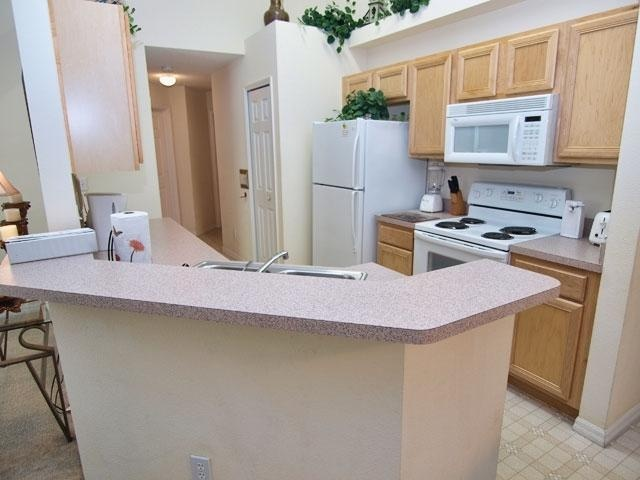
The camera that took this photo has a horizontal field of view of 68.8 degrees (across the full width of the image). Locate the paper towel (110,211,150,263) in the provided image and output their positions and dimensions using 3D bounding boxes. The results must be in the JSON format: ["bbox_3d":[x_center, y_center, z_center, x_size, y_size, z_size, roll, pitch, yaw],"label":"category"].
[{"bbox_3d":[-0.964,0.047,2.415,0.185,0.291,0.189,5,-35,-34],"label":"paper towel"}]

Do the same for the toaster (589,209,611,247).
[{"bbox_3d":[1.698,-0.088,2.918,0.130,0.220,0.146,21,12,42],"label":"toaster"}]

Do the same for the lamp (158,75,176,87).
[{"bbox_3d":[-1.921,-2.002,5.844,0.221,0.053,0.219,16,37,19],"label":"lamp"}]

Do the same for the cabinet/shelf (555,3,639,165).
[{"bbox_3d":[1.619,-0.911,2.780,0.129,0.807,0.405,-14,18,-32],"label":"cabinet/shelf"}]
